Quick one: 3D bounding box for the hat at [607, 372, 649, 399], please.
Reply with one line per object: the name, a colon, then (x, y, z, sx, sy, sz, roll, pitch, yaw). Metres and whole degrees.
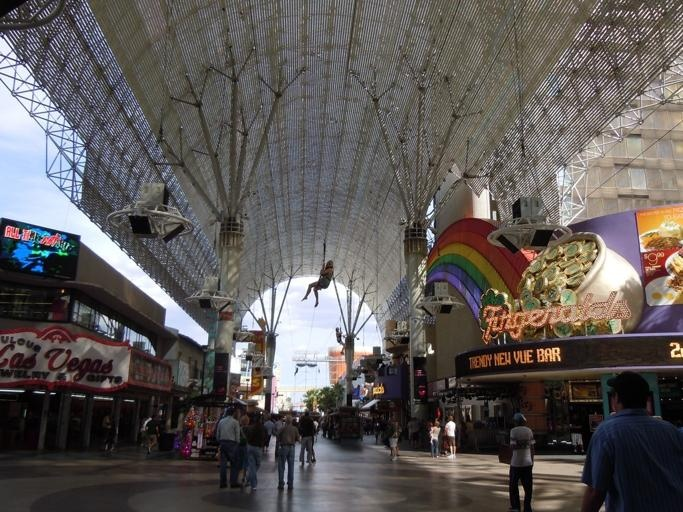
hat: (2.364, 1.026, 3.893, 0.234, 0.202, 0.354, 3, 5, -2)
